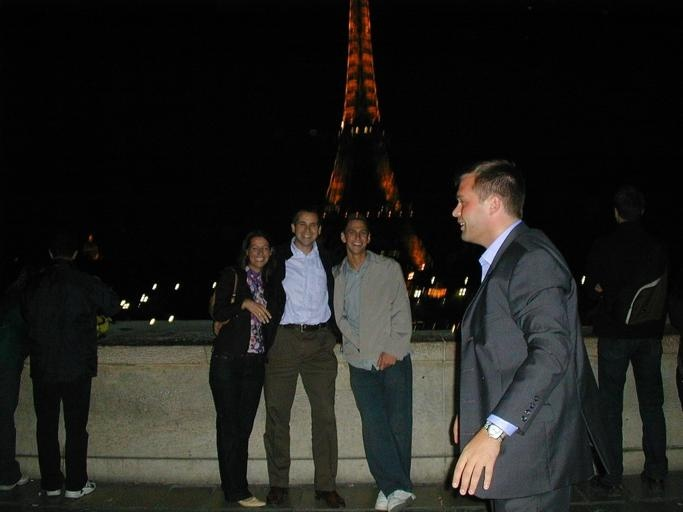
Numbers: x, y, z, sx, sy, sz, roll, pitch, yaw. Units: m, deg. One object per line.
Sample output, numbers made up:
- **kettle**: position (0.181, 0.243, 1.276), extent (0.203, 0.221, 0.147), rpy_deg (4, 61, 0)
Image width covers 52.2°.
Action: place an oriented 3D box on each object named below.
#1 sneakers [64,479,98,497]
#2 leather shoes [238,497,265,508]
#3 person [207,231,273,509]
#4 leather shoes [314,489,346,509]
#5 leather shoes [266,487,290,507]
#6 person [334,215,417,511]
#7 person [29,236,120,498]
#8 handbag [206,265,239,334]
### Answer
- **sneakers**: position (-2.718, 2.428, 7.272), extent (0.110, 0.135, 0.323), rpy_deg (12, 4, 17)
- **leather shoes**: position (-0.910, 2.522, 7.074), extent (0.207, 0.060, 0.112), rpy_deg (-2, 2, 11)
- **person**: position (-1.026, 1.154, 7.094), extent (0.638, 2.786, 0.343), rpy_deg (1, -4, -12)
- **leather shoes**: position (-0.118, 2.497, 7.128), extent (0.287, 0.139, 0.141), rpy_deg (-9, -9, 41)
- **leather shoes**: position (-0.669, 2.491, 7.130), extent (0.106, 0.144, 0.342), rpy_deg (-11, -37, 18)
- **person**: position (0.325, 1.063, 7.160), extent (0.778, 2.992, 0.418), rpy_deg (0, -4, -1)
- **person**: position (-2.881, 1.145, 7.303), extent (0.851, 2.748, 0.338), rpy_deg (1, -4, -21)
- **handbag**: position (-1.201, 0.499, 7.175), extent (0.327, 0.614, 0.150), rpy_deg (4, -7, 27)
